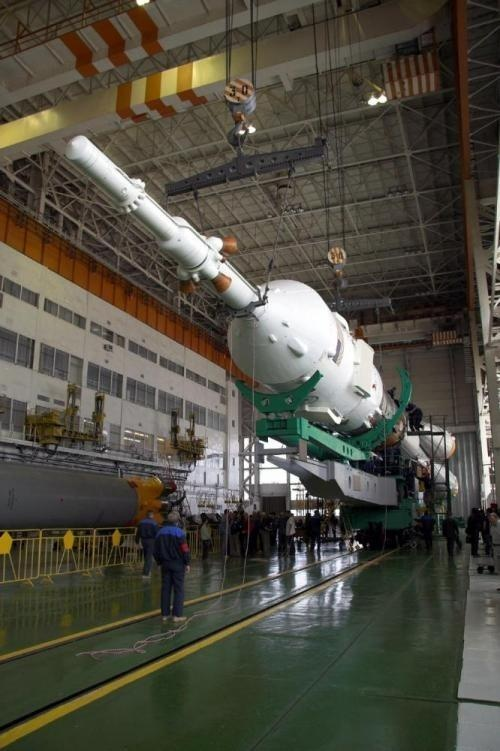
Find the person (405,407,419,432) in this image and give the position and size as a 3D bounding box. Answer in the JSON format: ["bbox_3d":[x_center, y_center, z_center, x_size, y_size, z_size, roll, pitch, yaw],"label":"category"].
[{"bbox_3d":[5.818,1.591,18.531,0.492,0.907,0.969,-4,-11,17],"label":"person"}]

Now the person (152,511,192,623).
[{"bbox_3d":[-0.996,2.440,6.679,0.408,1.320,0.937,1,-11,-10],"label":"person"}]

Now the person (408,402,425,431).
[{"bbox_3d":[5.850,1.489,18.610,0.530,1.075,0.351,-3,26,38],"label":"person"}]

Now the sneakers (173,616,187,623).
[{"bbox_3d":[-0.842,2.962,6.375,0.155,0.076,0.055,0,-1,-36],"label":"sneakers"}]
